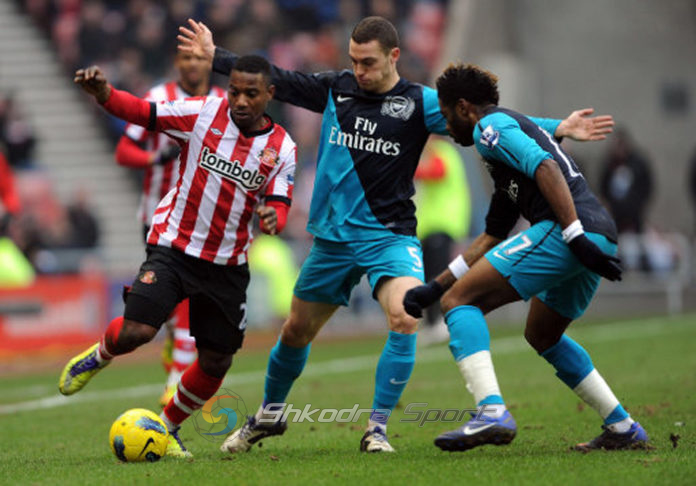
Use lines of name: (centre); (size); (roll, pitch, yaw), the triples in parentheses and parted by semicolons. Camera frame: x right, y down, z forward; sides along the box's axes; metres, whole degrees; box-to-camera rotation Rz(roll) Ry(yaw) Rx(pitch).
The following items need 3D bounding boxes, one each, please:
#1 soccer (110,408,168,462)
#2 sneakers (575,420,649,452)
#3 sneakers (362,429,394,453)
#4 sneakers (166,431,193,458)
soccer: (-1.677, 1.558, 6.893); (0.399, 0.409, 0.418); (6, -26, -36)
sneakers: (2.083, 1.520, 6.832); (0.655, 0.305, 0.229); (1, -4, 6)
sneakers: (0.234, 1.589, 6.894); (0.270, 0.175, 0.225); (1, 11, -2)
sneakers: (-1.364, 1.634, 6.964); (0.203, 0.182, 0.378); (-1, 11, -12)
